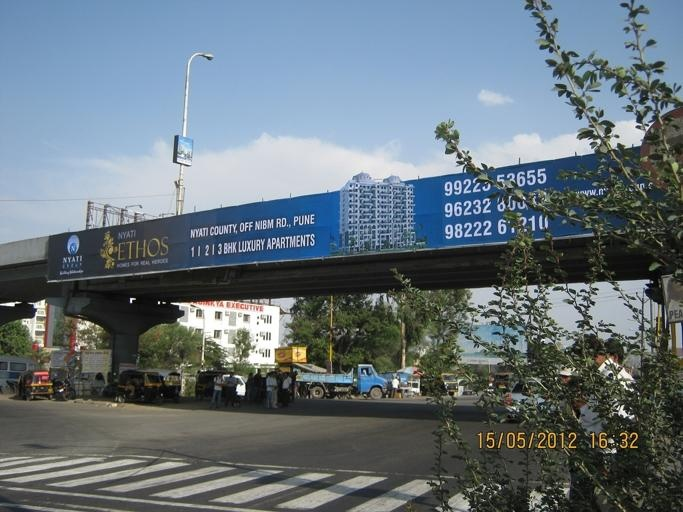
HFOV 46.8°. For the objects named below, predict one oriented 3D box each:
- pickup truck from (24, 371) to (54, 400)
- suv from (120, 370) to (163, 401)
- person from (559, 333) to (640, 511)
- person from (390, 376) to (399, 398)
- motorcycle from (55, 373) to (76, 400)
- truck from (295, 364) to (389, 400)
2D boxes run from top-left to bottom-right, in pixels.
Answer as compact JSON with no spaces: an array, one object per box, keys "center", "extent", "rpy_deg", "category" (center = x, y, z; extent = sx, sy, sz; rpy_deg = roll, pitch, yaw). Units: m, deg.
[{"center":[-15.201,6.405,39.327],"extent":[1.462,1.450,1.371],"rpy_deg":[-1,-5,-40],"category":"pickup truck"},{"center":[-9.354,6.009,36.710],"extent":[1.909,1.268,1.095],"rpy_deg":[0,-6,3],"category":"suv"},{"center":[2.715,1.667,8.292],"extent":[0.709,1.734,1.505],"rpy_deg":[-4,-4,17],"category":"person"},{"center":[3.908,9.387,57.248],"extent":[0.456,1.589,2.346],"rpy_deg":[-4,-4,10],"category":"person"},{"center":[-13.959,6.464,39.484],"extent":[0.851,1.218,1.247],"rpy_deg":[3,-9,-11],"category":"motorcycle"},{"center":[-0.015,8.242,50.979],"extent":[5.712,2.409,2.307],"rpy_deg":[0,-4,-11],"category":"truck"}]
